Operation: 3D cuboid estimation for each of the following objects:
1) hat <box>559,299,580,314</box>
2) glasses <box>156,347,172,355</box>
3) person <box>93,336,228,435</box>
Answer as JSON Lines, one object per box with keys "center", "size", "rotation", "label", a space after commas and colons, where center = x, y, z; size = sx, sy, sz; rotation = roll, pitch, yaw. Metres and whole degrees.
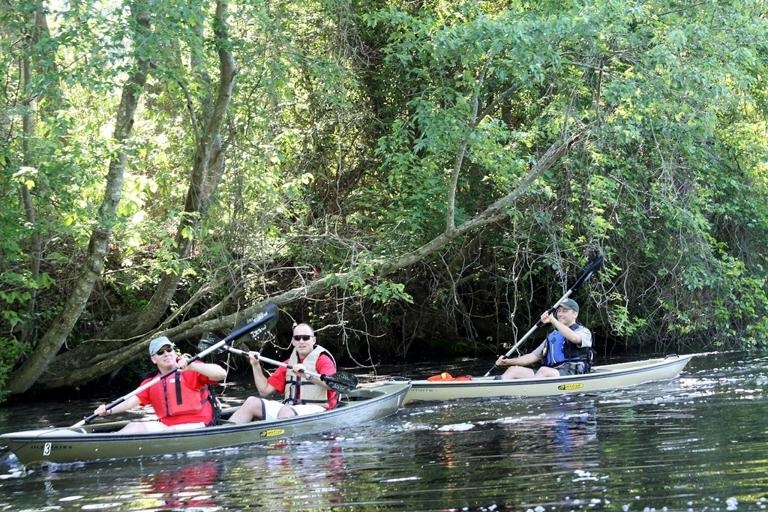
{"center": [2.898, 0.788, 10.389], "size": [0.301, 0.228, 0.347], "rotation": [-3, -1, 7], "label": "hat"}
{"center": [-2.596, 1.119, 7.882], "size": [0.176, 0.097, 0.093], "rotation": [-3, -1, -29], "label": "glasses"}
{"center": [-2.557, 1.638, 8.075], "size": [1.212, 0.920, 1.442], "rotation": [-12, -13, 19], "label": "person"}
